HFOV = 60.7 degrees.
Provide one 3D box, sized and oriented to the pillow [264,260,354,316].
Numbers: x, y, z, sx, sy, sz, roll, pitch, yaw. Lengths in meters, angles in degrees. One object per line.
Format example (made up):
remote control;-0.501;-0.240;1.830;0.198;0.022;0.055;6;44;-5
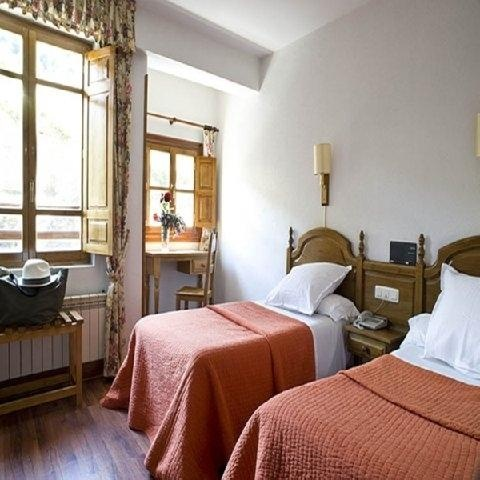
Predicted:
pillow;0.454;0.421;3.223;0.436;0.172;0.491;-23;14;-27

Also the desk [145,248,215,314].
desk;-0.687;0.509;4.382;0.590;0.834;0.439;3;3;-27

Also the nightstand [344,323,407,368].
nightstand;0.913;0.666;2.772;0.213;0.391;0.312;0;1;-31

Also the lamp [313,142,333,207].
lamp;0.706;-0.547;3.484;0.158;0.527;0.138;2;8;33

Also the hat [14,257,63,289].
hat;-1.373;0.219;2.803;0.187;0.105;0.193;-4;9;-22

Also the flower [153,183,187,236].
flower;-0.799;-0.300;4.402;0.219;0.454;0.286;8;11;8
